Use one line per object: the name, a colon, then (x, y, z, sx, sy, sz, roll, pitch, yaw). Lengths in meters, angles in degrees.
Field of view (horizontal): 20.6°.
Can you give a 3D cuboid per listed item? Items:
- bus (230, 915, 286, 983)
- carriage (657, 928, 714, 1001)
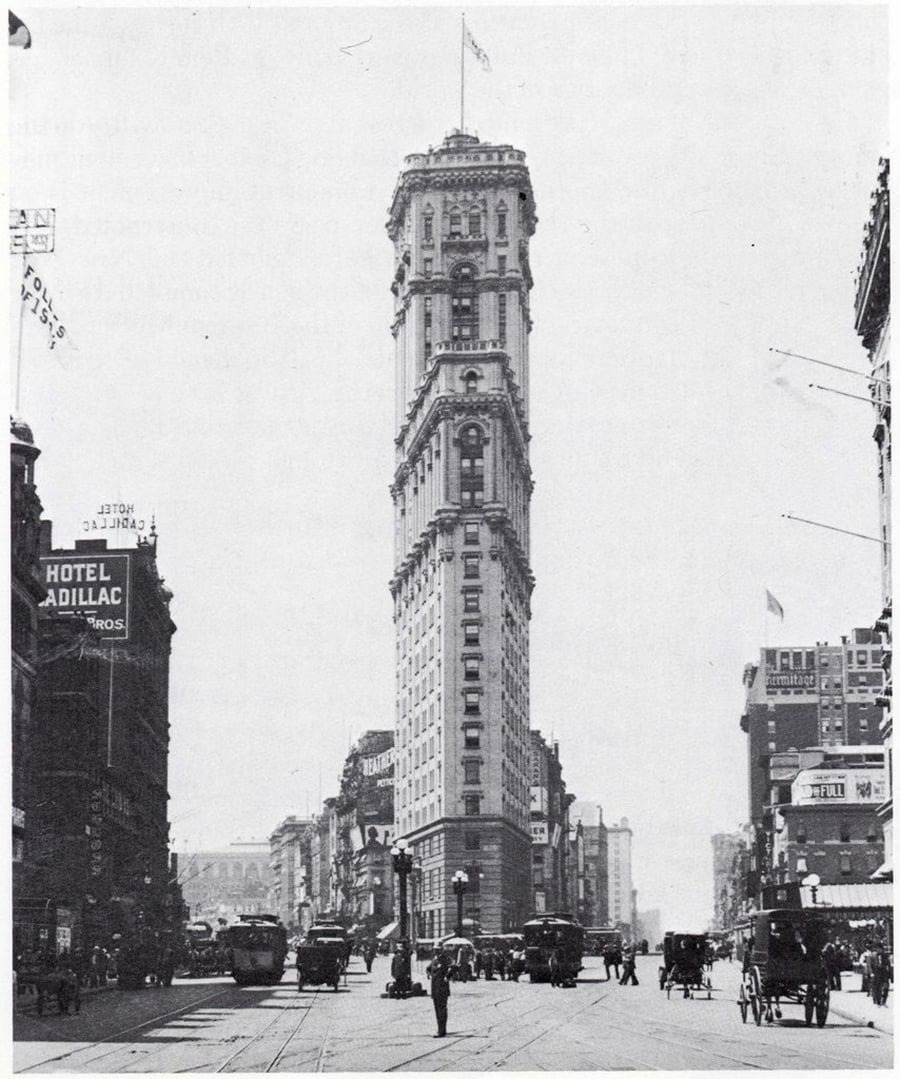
bus: (-7.615, 16.025, 96.655, 2.095, 3.071, 3.275, 0, -15, -4)
carriage: (8.071, 13.949, 82.699, 1.258, 2.350, 4.123, 2, 8, 10)
